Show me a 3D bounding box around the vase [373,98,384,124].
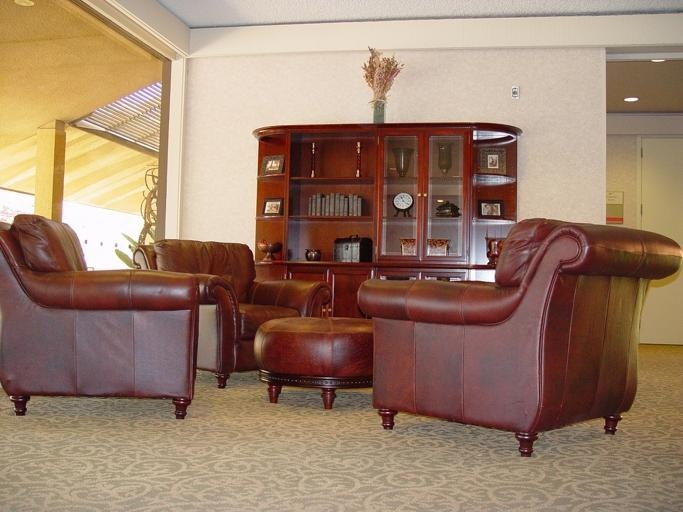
[{"bbox_3d":[0.397,-1.496,5.889,0.127,0.241,0.342,2,0,3],"label":"vase"}]

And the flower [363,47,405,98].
[{"bbox_3d":[0.436,-1.918,5.927,0.447,0.543,0.413,2,0,2],"label":"flower"}]
